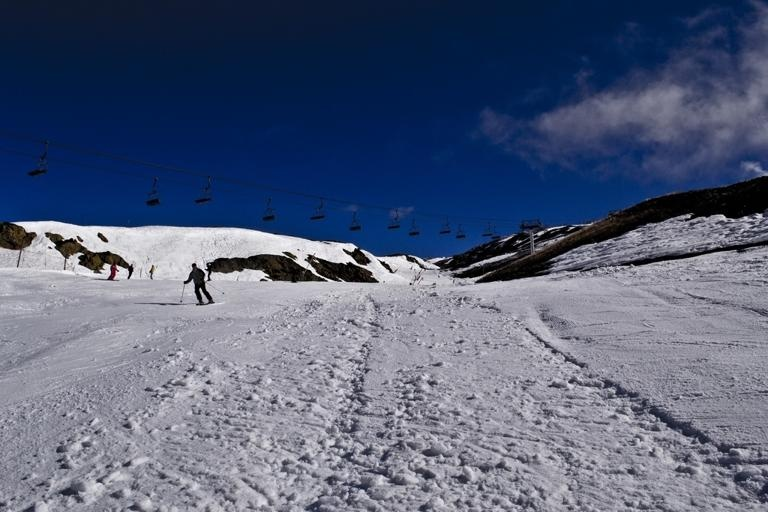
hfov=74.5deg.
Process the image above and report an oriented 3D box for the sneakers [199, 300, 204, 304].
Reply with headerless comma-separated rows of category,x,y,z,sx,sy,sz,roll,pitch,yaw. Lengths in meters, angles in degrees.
sneakers,-8.365,2.171,23.033,0.152,0.142,0.680,-7,13,-17
